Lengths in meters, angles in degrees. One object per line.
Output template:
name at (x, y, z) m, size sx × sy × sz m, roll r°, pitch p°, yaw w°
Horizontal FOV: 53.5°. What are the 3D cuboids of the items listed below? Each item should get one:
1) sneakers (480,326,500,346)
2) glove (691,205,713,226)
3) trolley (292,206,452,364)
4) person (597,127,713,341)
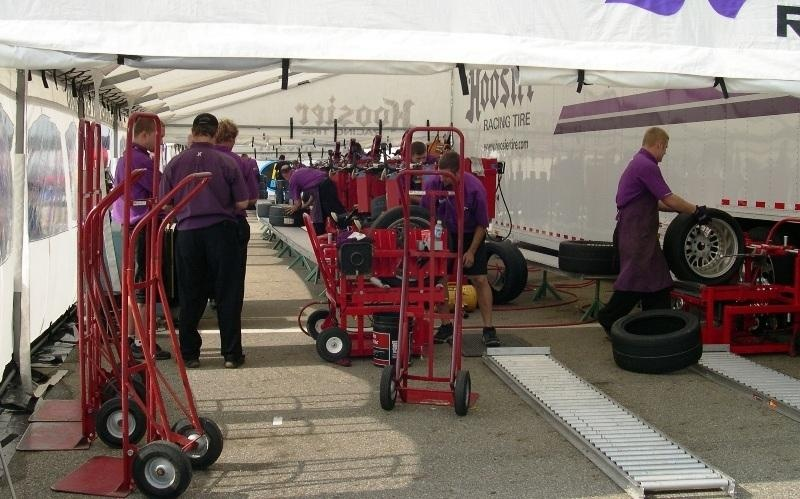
sneakers at (1.026, 1.006, 9.066) m, size 0.180 × 0.218 × 0.509 m, roll -1°, pitch -3°, yaw -2°
glove at (3.307, -0.358, 8.683) m, size 0.190 × 0.246 × 0.346 m, roll 5°, pitch 12°, yaw 32°
trolley at (-0.347, 0.356, 8.911) m, size 1.671 × 1.767 × 1.355 m, roll -2°, pitch 9°, yaw -9°
person at (2.715, -0.152, 8.842) m, size 0.916 × 2.344 × 0.617 m, roll 1°, pitch 9°, yaw 15°
